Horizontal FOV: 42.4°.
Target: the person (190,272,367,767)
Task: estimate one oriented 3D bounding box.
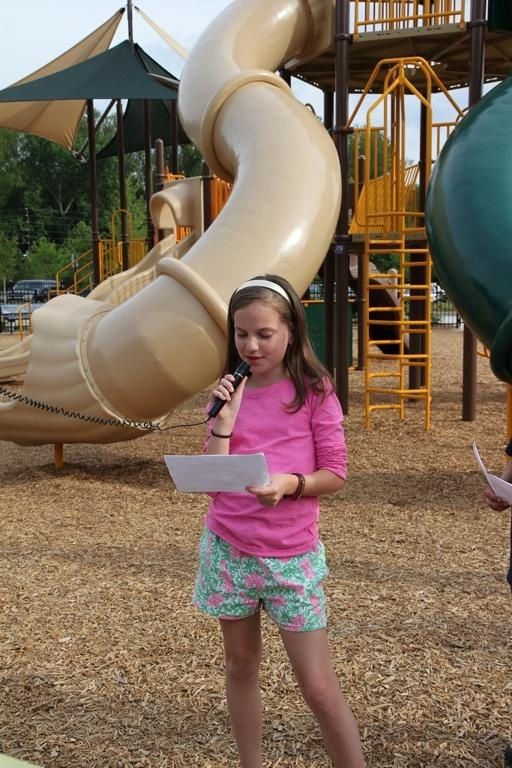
[{"bbox_3d":[0.044,0.318,1.503,0.357,1.130,0.506,-4,5,-22],"label":"person"}]

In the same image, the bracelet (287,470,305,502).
[{"bbox_3d":[0.086,0.222,1.402,0.017,0.049,0.043,4,4,19],"label":"bracelet"}]
